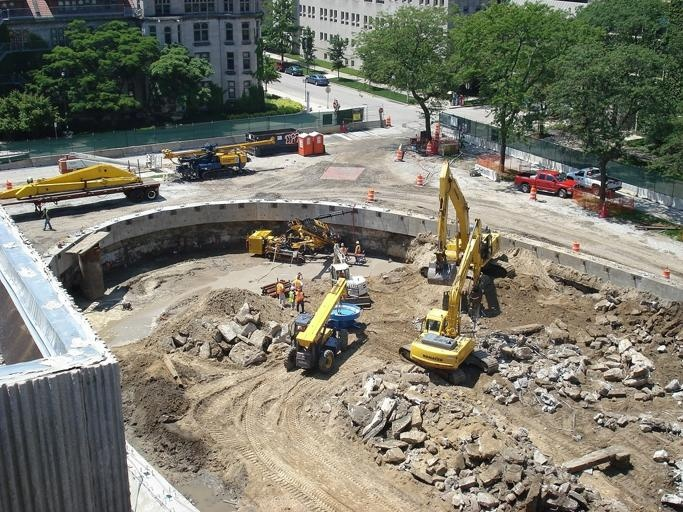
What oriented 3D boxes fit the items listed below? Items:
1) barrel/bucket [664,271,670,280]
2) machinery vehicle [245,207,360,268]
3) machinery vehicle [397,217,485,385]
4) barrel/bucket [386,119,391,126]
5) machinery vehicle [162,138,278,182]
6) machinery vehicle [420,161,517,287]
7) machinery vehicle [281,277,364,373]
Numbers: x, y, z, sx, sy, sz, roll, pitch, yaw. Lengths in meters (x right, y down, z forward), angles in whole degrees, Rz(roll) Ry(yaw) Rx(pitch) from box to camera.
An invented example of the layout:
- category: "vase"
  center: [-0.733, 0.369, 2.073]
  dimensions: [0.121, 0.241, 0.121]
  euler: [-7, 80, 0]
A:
- category: "barrel/bucket"
  center: [17.925, 1.046, 40.907]
  dimensions: [0.373, 0.395, 0.379]
  euler: [-9, 10, 2]
- category: "machinery vehicle"
  center: [-2.956, -1.105, 48.863]
  dimensions: [8.421, 4.043, 3.001]
  euler: [0, 30, 2]
- category: "machinery vehicle"
  center: [5.372, 1.867, 34.645]
  dimensions: [2.597, 5.099, 7.462]
  euler: [10, 22, 25]
- category: "barrel/bucket"
  center: [4.467, -13.046, 71.585]
  dimensions: [0.600, 0.770, 0.620]
  euler: [-1, 52, 2]
- category: "machinery vehicle"
  center: [-9.806, -7.542, 56.805]
  dimensions: [8.607, 2.664, 2.852]
  euler: [-18, 29, -36]
- category: "machinery vehicle"
  center: [6.008, -1.855, 37.562]
  dimensions: [3.021, 5.952, 8.920]
  euler: [5, 14, 20]
- category: "machinery vehicle"
  center: [-0.933, 3.240, 34.905]
  dimensions: [2.024, 3.270, 4.337]
  euler: [9, 25, 20]
